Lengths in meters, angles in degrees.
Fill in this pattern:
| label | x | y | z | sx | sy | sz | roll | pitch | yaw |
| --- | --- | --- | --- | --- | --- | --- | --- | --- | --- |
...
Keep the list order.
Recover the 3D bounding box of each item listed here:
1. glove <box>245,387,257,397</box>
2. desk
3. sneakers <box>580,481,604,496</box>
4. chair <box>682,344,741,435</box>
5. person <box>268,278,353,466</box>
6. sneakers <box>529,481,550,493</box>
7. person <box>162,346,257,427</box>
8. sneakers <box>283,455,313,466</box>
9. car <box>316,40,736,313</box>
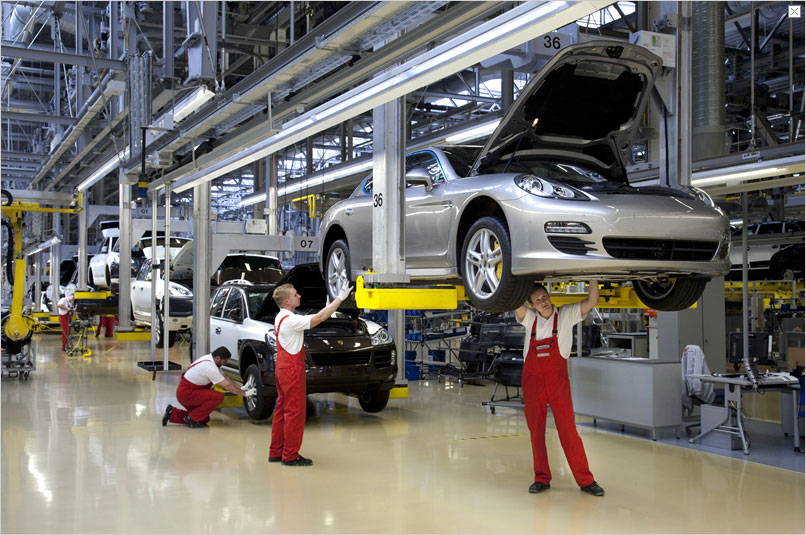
| label | x | y | z | sx | sy | sz | roll | pitch | yaw |
| --- | --- | --- | --- | --- | --- | --- | --- | --- | --- |
| glove | -2.286 | 1.875 | 10.567 | 0.126 | 0.155 | 0.142 | 32 | 14 | 38 |
| desk | 4.709 | 1.709 | 9.733 | 1.559 | 0.752 | 1.020 | 4 | -5 | -35 |
| sneakers | 2.111 | 2.443 | 7.815 | 0.275 | 0.111 | 0.118 | -4 | -6 | 41 |
| chair | 4.418 | 1.748 | 10.083 | 0.869 | 1.273 | 0.768 | 9 | -5 | -38 |
| person | -1.275 | 1.318 | 8.742 | 0.886 | 2.187 | 0.414 | 1 | 1 | 12 |
| sneakers | 1.544 | 2.451 | 7.876 | 0.277 | 0.097 | 0.093 | 10 | -12 | -42 |
| person | -2.908 | 1.854 | 10.770 | 1.480 | 1.173 | 0.782 | 2 | -4 | 14 |
| sneakers | -1.271 | 2.350 | 8.664 | 0.396 | 0.148 | 0.128 | 0 | -2 | -8 |
| car | 1.099 | -0.803 | 8.808 | 2.428 | 2.024 | 4.719 | 2 | -3 | -34 |
